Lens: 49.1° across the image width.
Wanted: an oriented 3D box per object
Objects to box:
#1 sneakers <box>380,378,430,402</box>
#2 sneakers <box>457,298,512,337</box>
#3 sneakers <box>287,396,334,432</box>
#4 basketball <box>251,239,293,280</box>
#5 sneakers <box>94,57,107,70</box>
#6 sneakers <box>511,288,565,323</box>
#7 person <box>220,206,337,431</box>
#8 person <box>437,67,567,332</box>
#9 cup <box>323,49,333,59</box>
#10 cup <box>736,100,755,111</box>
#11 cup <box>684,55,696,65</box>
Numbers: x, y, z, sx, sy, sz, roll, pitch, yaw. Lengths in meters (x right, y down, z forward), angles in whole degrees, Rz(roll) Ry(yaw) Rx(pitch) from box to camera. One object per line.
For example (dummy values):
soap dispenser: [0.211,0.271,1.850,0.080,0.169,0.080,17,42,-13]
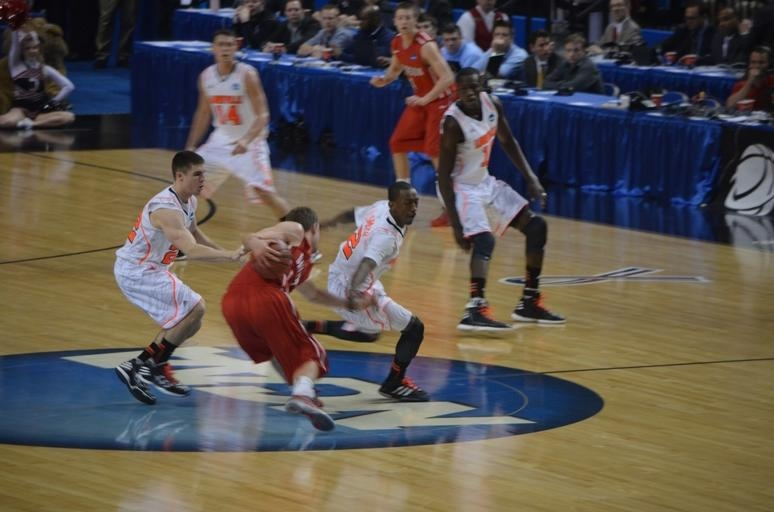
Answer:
sneakers: [0.101,0.839,5.324,0.388,0.131,0.117,5,-3,-3]
sneakers: [0.766,0.450,6.328,0.460,0.200,0.157,1,8,33]
sneakers: [-0.436,0.881,4.680,0.297,0.106,0.127,34,29,-13]
basketball: [-0.627,0.017,4.725,0.281,0.162,0.241,3,-2,-23]
sneakers: [-6.151,-4.164,18.166,0.241,0.217,0.567,-3,14,-12]
sneakers: [1.206,0.391,6.546,0.173,0.243,0.493,-4,5,-42]
person: [-0.530,0.312,4.677,0.461,1.113,0.724,0,15,-37]
person: [0.834,-0.428,6.475,1.054,1.956,0.787,10,12,1]
cup: [-0.881,-2.969,12.342,0.173,0.105,0.162,-1,11,0]
cup: [4.048,-1.729,9.628,0.230,0.119,0.155,4,7,19]
cup: [4.013,-2.628,11.271,0.180,0.100,0.134,1,18,27]
